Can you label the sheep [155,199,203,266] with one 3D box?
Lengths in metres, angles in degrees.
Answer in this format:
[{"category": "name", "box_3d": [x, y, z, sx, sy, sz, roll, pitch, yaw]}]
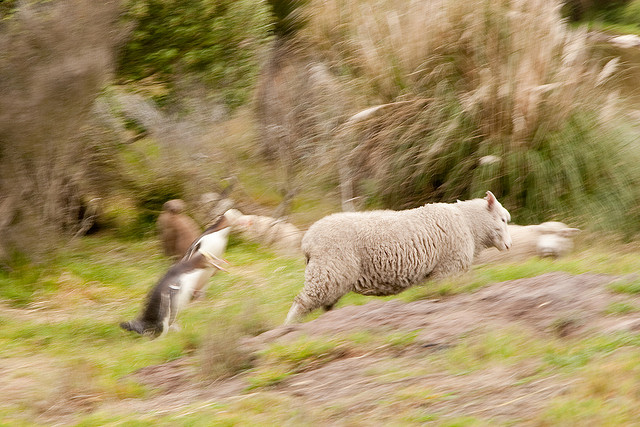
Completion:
[{"category": "sheep", "box_3d": [-2.062, 0.268, 11.739, 0.625, 0.931, 0.555, -2, 20, -7]}]
